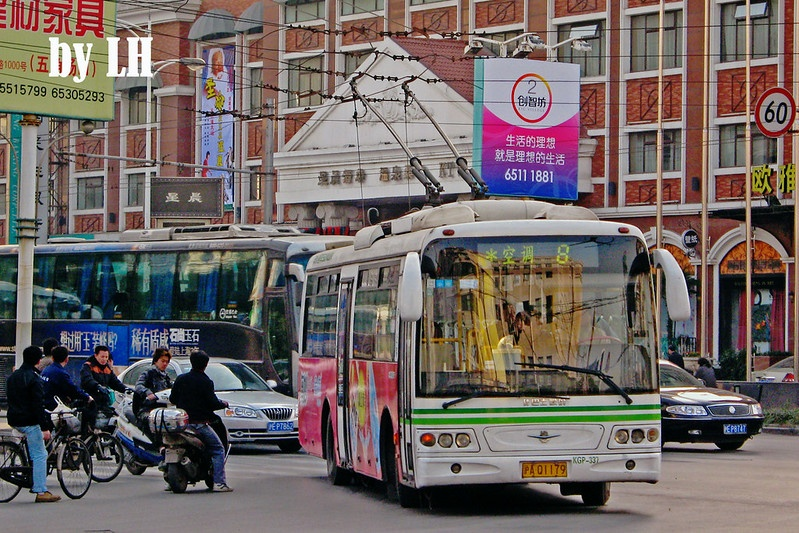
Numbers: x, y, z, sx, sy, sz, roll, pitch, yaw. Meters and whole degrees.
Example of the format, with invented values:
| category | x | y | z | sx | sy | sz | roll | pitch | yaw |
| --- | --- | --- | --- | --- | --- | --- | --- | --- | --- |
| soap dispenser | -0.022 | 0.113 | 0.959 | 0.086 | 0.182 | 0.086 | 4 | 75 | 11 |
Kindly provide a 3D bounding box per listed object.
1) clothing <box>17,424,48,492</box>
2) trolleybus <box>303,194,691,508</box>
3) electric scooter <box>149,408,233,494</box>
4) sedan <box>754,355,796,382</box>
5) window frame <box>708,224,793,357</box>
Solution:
| category | x | y | z | sx | sy | sz | roll | pitch | yaw |
| --- | --- | --- | --- | --- | --- | --- | --- | --- | --- |
| clothing | -6.262 | 3.305 | 26.997 | 0.451 | 1.263 | 0.295 | -4 | 14 | -14 |
| trolleybus | 0.979 | 1.724 | 31.089 | 5.278 | 5.026 | 12.107 | 1 | -2 | -14 |
| electric scooter | -3.784 | 3.311 | 28.948 | 1.082 | 1.613 | 2.838 | -5 | -9 | 9 |
| sedan | 10.547 | 2.893 | 44.212 | 0.743 | 0.499 | 1.608 | -3 | 2 | 41 |
| window frame | 11.376 | 0.751 | 50.700 | 1.573 | 4.171 | 2.044 | 2 | -2 | 31 |
